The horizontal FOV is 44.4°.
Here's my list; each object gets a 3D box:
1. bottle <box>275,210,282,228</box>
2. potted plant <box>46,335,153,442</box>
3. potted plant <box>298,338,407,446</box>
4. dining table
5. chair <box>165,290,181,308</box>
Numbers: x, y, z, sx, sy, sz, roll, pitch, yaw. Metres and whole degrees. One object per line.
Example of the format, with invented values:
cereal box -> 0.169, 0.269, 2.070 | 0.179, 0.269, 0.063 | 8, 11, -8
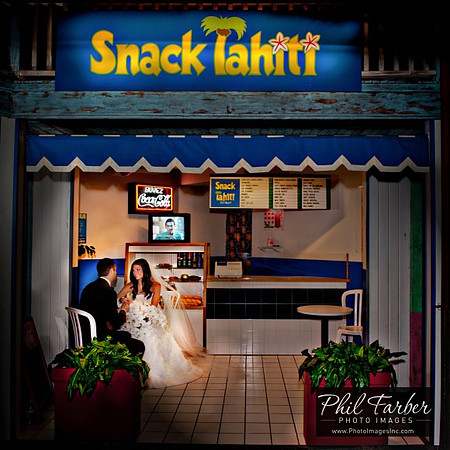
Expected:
bottle -> 0.964, -0.096, 9.941 | 0.052, 0.322, 0.287 | -1, 4, -14
potted plant -> -1.141, 1.449, 5.199 | 0.826, 1.005, 0.800 | 1, -8, -6
potted plant -> 1.120, 1.450, 5.019 | 0.864, 0.939, 0.844 | 0, -7, 0
dining table -> 1.204, 1.160, 6.671 | 0.497, 0.670, 0.535 | 0, -4, 5
chair -> -0.729, 1.051, 7.703 | 0.191, 0.308, 0.233 | -2, -1, 7
